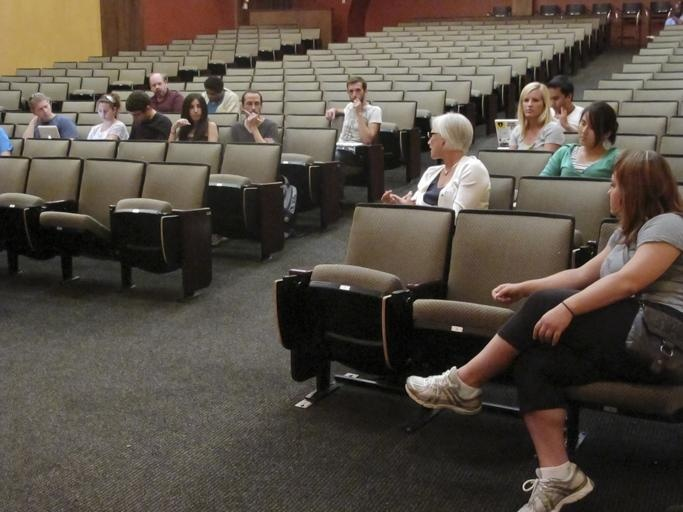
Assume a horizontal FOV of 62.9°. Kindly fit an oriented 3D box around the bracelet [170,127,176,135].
[{"bbox_3d":[-1.527,-1.139,5.077,0.050,0.088,0.054,15,32,9],"label":"bracelet"}]

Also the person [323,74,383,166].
[{"bbox_3d":[0.054,-1.264,5.520,0.579,1.006,0.555,2,7,-26],"label":"person"}]

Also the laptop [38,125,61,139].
[{"bbox_3d":[-2.939,-1.251,5.616,0.212,0.169,0.181,6,17,16],"label":"laptop"}]
